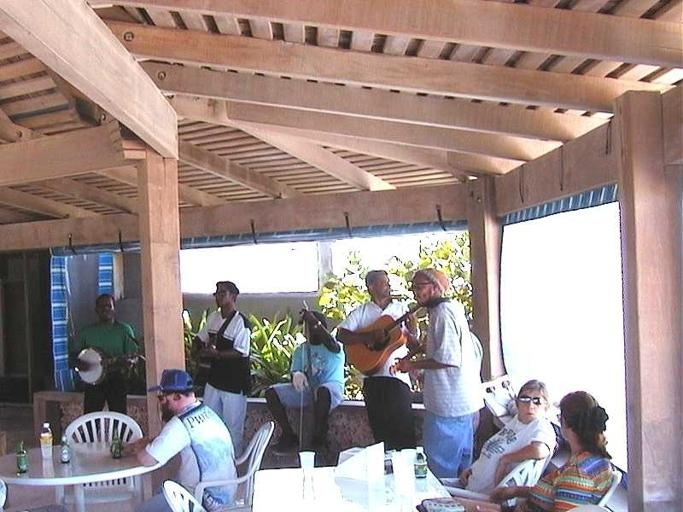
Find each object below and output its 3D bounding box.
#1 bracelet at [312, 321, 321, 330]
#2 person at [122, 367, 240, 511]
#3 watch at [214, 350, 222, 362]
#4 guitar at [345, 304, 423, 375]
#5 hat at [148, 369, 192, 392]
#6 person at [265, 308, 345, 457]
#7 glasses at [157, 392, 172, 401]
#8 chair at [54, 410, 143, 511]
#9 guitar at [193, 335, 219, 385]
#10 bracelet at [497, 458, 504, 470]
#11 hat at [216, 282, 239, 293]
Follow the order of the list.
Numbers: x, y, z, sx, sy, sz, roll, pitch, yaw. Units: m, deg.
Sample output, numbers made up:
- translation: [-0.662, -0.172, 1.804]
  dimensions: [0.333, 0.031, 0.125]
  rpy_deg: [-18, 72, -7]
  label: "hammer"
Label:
- translation: [-0.209, 0.600, 6.116]
  dimensions: [0.054, 0.017, 0.055]
  rpy_deg: [-14, -38, -46]
  label: "bracelet"
- translation: [-1.112, 1.354, 5.095]
  dimensions: [0.770, 1.414, 0.719]
  rpy_deg: [0, -13, 1]
  label: "person"
- translation: [-1.097, 0.888, 6.251]
  dimensions: [0.071, 0.082, 0.022]
  rpy_deg: [4, 6, 19]
  label: "watch"
- translation: [0.316, 0.720, 5.759]
  dimensions: [0.810, 0.370, 0.112]
  rpy_deg: [-42, -35, -3]
  label: "guitar"
- translation: [-1.130, 0.822, 4.730]
  dimensions: [0.213, 0.127, 0.143]
  rpy_deg: [2, -8, 2]
  label: "hat"
- translation: [-0.336, 1.219, 6.521]
  dimensions: [0.758, 1.457, 0.789]
  rpy_deg: [-13, -30, 32]
  label: "person"
- translation: [-1.173, 0.927, 4.668]
  dimensions: [0.068, 0.027, 0.077]
  rpy_deg: [3, -1, 3]
  label: "glasses"
- translation: [-1.831, 1.518, 5.530]
  dimensions: [0.674, 0.979, 0.688]
  rpy_deg: [3, -5, -15]
  label: "chair"
- translation: [-1.268, 0.982, 6.521]
  dimensions: [0.269, 0.639, 0.118]
  rpy_deg: [11, 13, 28]
  label: "guitar"
- translation: [1.040, 1.345, 4.570]
  dimensions: [0.042, 0.073, 0.041]
  rpy_deg: [-5, 9, -44]
  label: "bracelet"
- translation: [-1.047, 0.268, 6.392]
  dimensions: [0.100, 0.056, 0.133]
  rpy_deg: [19, -7, -29]
  label: "hat"
